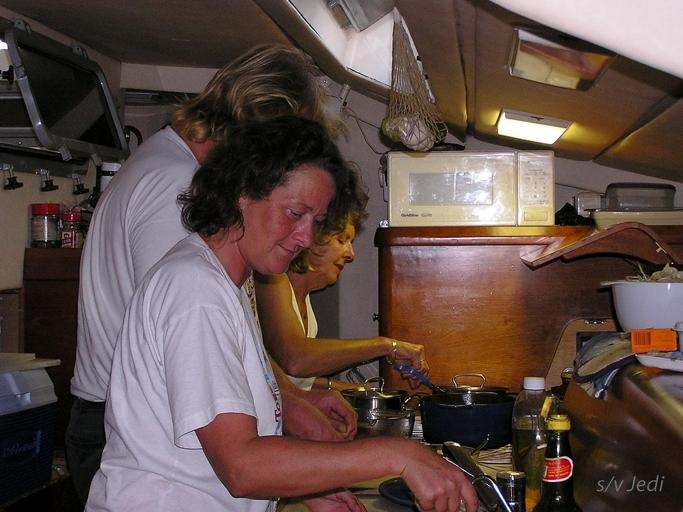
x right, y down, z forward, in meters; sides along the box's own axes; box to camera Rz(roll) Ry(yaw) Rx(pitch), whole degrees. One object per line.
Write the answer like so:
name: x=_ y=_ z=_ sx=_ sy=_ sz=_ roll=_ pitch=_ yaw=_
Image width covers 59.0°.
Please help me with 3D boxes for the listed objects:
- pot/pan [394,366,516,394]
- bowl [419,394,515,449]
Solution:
pot/pan: x=0.309 y=0.388 z=1.926 sx=0.259 sy=0.036 sz=0.146 roll=8 pitch=-4 yaw=-6
bowl: x=0.363 y=0.459 z=1.713 sx=0.239 sy=0.116 sz=0.302 roll=8 pitch=-11 yaw=-32
